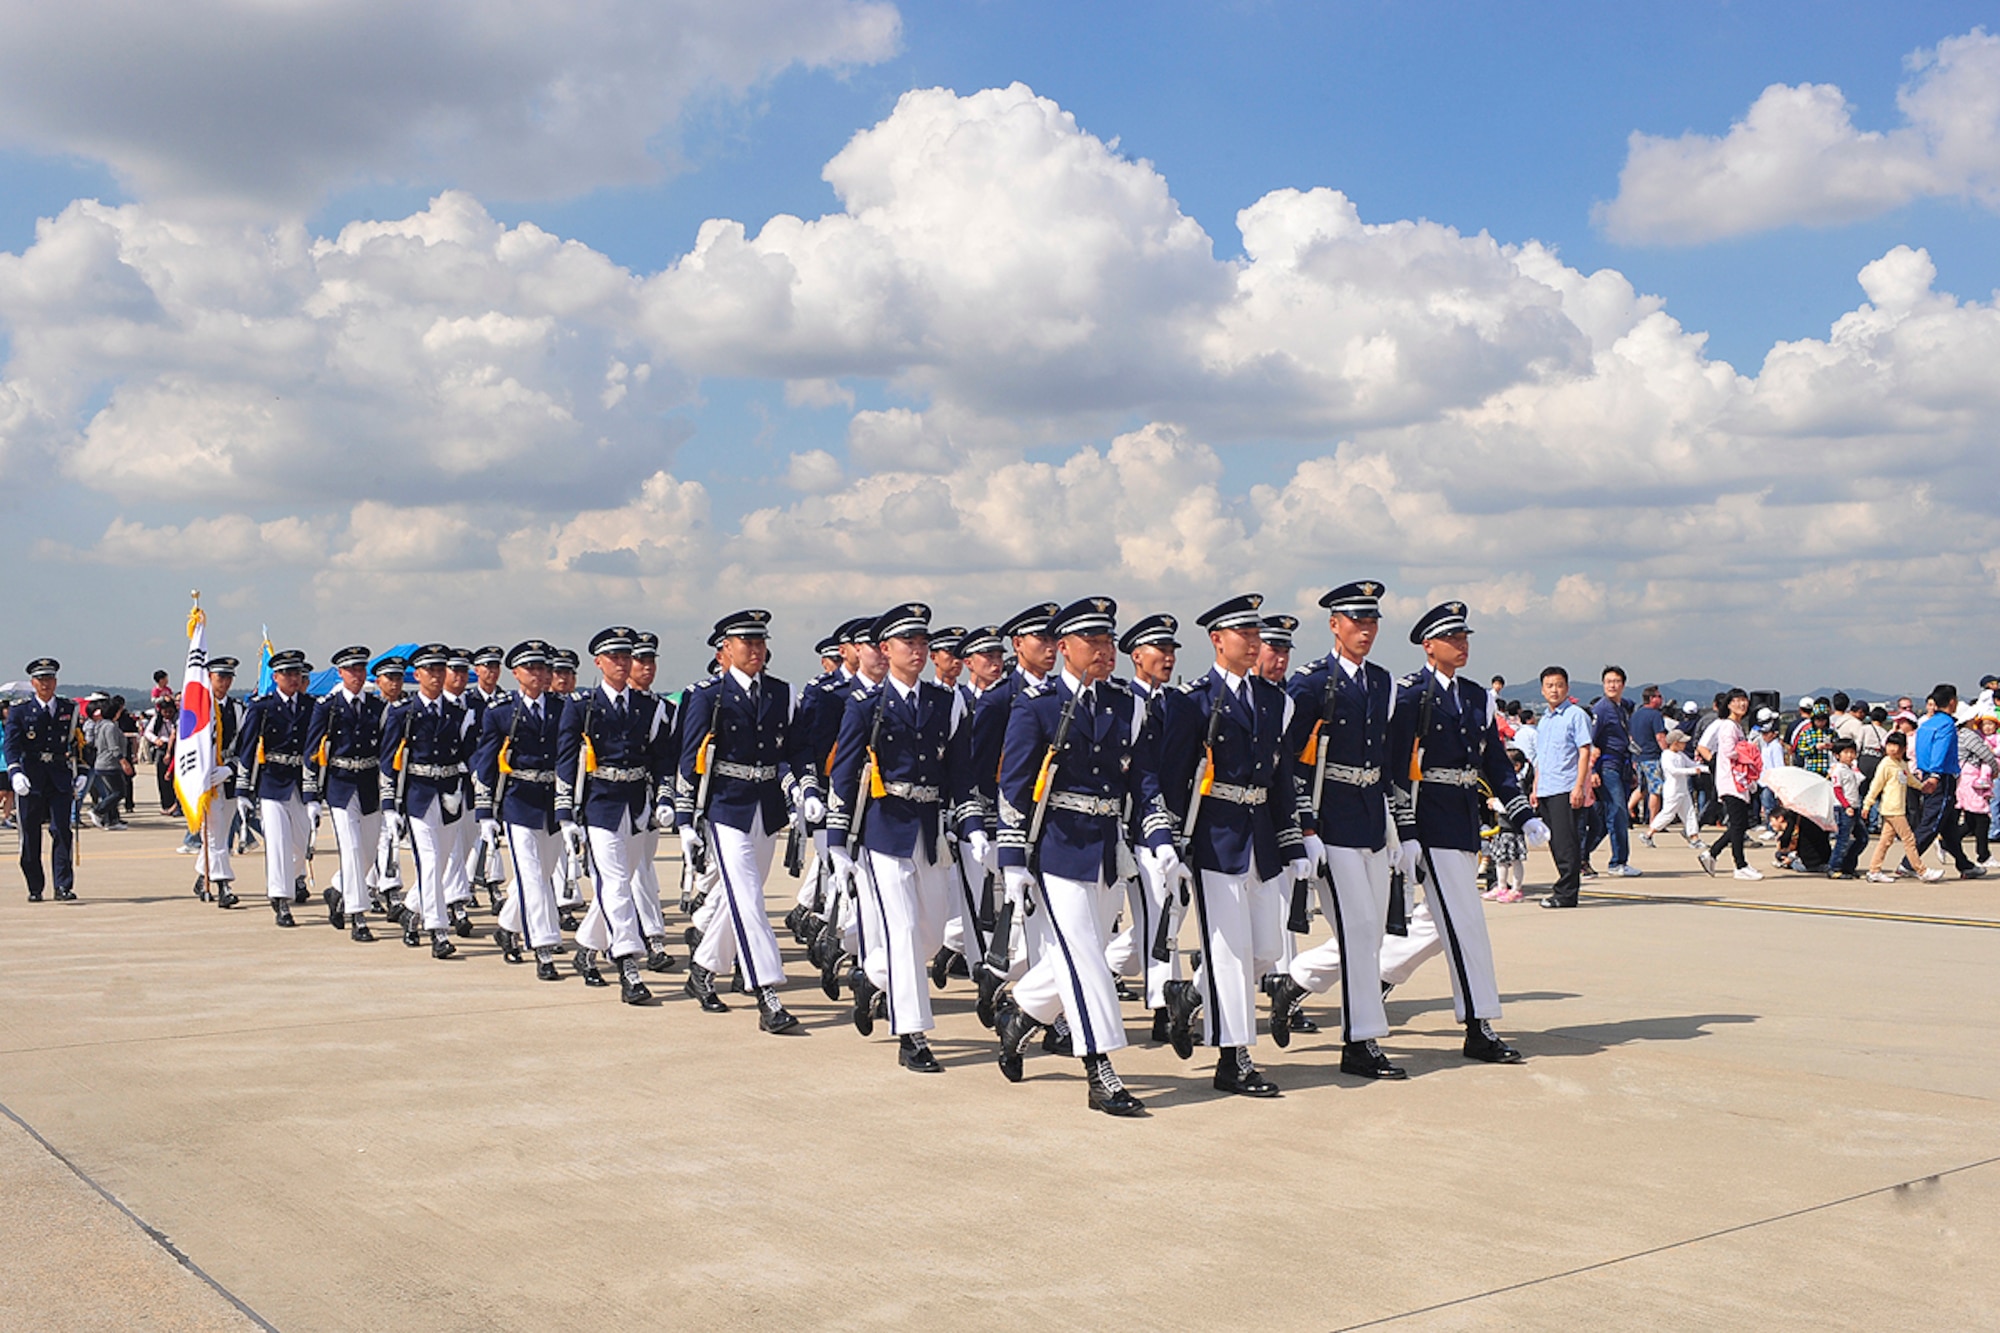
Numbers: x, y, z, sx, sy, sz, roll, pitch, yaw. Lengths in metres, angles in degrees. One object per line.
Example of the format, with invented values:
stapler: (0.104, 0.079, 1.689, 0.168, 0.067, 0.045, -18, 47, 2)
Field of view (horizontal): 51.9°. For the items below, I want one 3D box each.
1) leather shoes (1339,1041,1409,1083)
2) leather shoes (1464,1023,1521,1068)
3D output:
leather shoes: (2.326, 2.460, 12.865, 0.447, 0.297, 0.175, -2, -3, 10)
leather shoes: (3.153, 2.383, 13.153, 0.353, 0.247, 0.268, 1, 5, 10)
